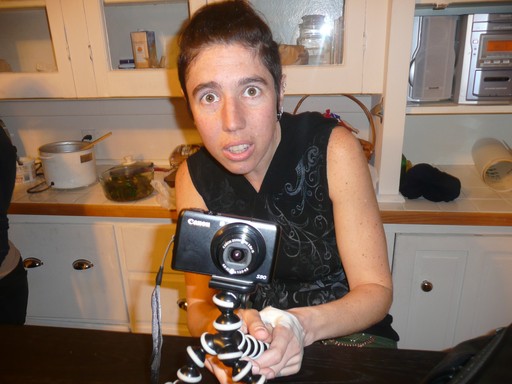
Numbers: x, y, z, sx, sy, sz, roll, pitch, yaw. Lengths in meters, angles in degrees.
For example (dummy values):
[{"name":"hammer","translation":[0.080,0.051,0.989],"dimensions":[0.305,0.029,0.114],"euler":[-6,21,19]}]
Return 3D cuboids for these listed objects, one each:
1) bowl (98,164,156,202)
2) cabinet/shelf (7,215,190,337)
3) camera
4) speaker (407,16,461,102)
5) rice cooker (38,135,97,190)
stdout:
[{"name":"bowl","translation":[-0.624,-0.046,2.015],"dimensions":[0.211,0.126,0.234],"euler":[19,31,40]},{"name":"cabinet/shelf","translation":[-0.766,0.401,2.131],"dimensions":[1.080,0.708,0.566],"euler":[2,2,5]},{"name":"camera","translation":[-0.066,0.132,0.955],"dimensions":[0.237,0.153,0.070],"euler":[11,1,3]},{"name":"speaker","translation":[0.782,-0.590,1.865],"dimensions":[0.101,0.372,0.212],"euler":[4,16,-2]},{"name":"rice cooker","translation":[-0.951,-0.146,2.138],"dimensions":[0.250,0.210,0.292],"euler":[2,17,7]}]
